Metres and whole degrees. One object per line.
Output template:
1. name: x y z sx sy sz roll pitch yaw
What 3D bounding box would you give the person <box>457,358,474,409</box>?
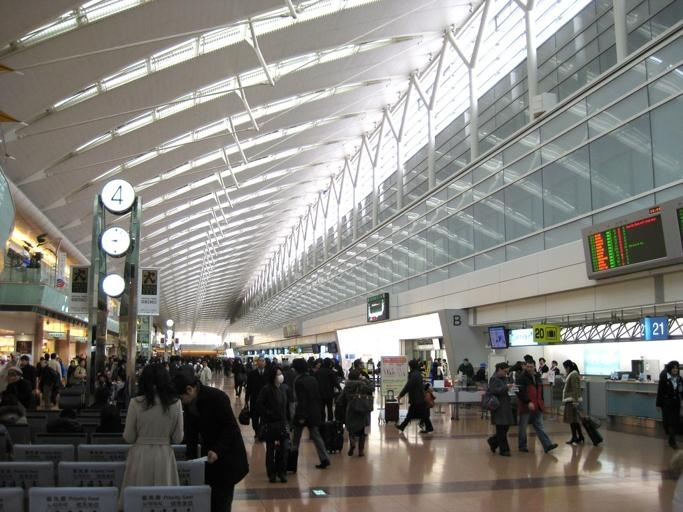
1. person: 4.829 4.649 22.111 0.505 1.499 0.532 -2 11 14

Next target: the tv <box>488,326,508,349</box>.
1. tv: 5.686 2.900 20.722 0.668 0.753 0.875 -5 -17 18

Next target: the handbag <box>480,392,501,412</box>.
1. handbag: 3.307 3.252 12.860 0.273 0.415 0.391 11 -19 -35

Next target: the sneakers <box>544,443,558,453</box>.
1. sneakers: 4.659 4.279 12.834 0.259 0.173 0.228 -2 -16 7

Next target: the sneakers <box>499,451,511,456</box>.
1. sneakers: 3.553 4.267 12.465 0.095 0.082 0.194 2 -17 -15

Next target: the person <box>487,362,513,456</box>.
1. person: 3.556 3.413 12.959 0.566 2.016 0.696 -3 -15 14

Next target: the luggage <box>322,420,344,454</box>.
1. luggage: -0.169 4.048 12.907 0.444 0.756 0.414 2 -5 -27

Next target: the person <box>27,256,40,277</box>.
1. person: -12.126 0.370 22.813 0.171 0.784 0.471 -8 -17 30

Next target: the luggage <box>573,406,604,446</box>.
1. luggage: 5.941 4.079 13.839 0.494 0.896 0.593 -6 -16 22

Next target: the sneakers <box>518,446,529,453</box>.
1. sneakers: 4.117 4.356 12.975 0.211 0.113 0.185 0 -16 1
